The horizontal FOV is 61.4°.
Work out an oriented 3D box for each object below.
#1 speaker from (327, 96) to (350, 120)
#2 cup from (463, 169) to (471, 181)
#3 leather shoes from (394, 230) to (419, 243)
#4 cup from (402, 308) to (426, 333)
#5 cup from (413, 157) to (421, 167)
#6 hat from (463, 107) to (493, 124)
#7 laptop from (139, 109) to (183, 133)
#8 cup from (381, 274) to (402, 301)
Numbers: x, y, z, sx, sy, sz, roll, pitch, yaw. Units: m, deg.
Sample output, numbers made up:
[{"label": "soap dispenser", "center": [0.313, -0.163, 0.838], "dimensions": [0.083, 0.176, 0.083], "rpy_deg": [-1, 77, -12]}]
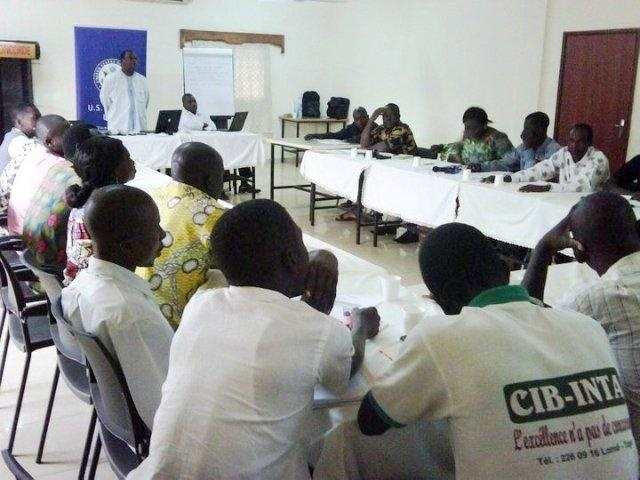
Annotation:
[{"label": "speaker", "center": [0.331, -2.516, 10.457], "dimensions": [0.390, 0.440, 0.429], "rpy_deg": [1, 11, -19]}, {"label": "cup", "center": [1.157, -0.513, 4.273], "dimensions": [0.078, 0.094, 0.083], "rpy_deg": [0, 10, 0]}, {"label": "leather shoes", "center": [0.906, -0.026, 5.535], "dimensions": [0.131, 0.103, 0.170], "rpy_deg": [-11, 11, -40]}, {"label": "cup", "center": [0.298, 0.250, 1.718], "dimensions": [0.060, 0.072, 0.063], "rpy_deg": [0, 12, 0]}, {"label": "cup", "center": [0.888, -0.720, 4.997], "dimensions": [0.080, 0.083, 0.076], "rpy_deg": [1, 14, 0]}, {"label": "hat", "center": [1.462, -1.208, 5.080], "dimensions": [0.170, 0.223, 0.239], "rpy_deg": [-4, 19, -16]}, {"label": "laptop", "center": [-1.900, -1.472, 6.618], "dimensions": [0.323, 0.259, 0.275], "rpy_deg": [-13, 24, -43]}, {"label": "cup", "center": [0.259, 0.178, 1.985], "dimensions": [0.072, 0.081, 0.084], "rpy_deg": [-2, 2, -4]}]
